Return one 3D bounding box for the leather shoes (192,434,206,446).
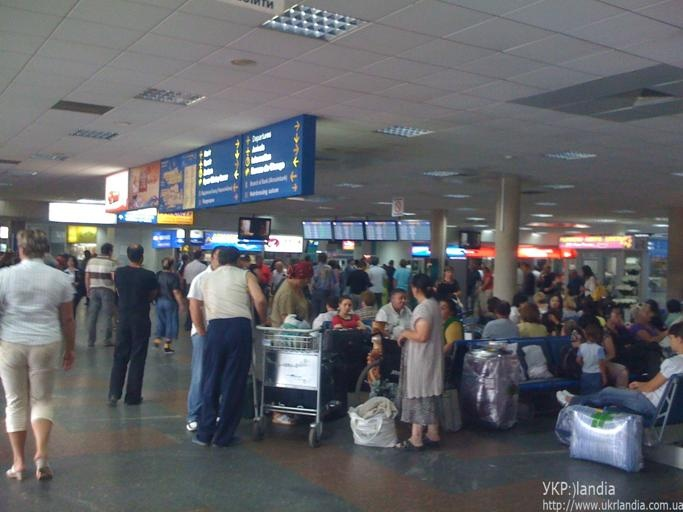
[{"bbox_3d":[-1.514,1.962,6.037,0.080,0.093,0.225,2,3,-21],"label":"leather shoes"}]

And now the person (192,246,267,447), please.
[{"bbox_3d":[-1.230,0.941,6.151,0.728,2.091,0.562,0,0,-15],"label":"person"}]

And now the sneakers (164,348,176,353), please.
[{"bbox_3d":[-3.327,1.842,11.011,0.170,0.062,0.086,-1,4,-31],"label":"sneakers"}]

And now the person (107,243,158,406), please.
[{"bbox_3d":[-2.729,1.037,7.447,0.581,1.774,0.346,0,0,-21],"label":"person"}]

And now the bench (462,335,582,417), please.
[{"bbox_3d":[2.853,1.595,7.905,1.133,0.891,2.872,5,3,43],"label":"bench"}]

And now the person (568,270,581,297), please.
[{"bbox_3d":[6.087,0.754,14.892,0.430,0.728,0.551,2,-8,15],"label":"person"}]

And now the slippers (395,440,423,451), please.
[{"bbox_3d":[0.709,1.994,5.997,0.203,0.067,0.114,4,-9,1],"label":"slippers"}]

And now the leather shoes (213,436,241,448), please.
[{"bbox_3d":[-1.176,1.954,5.989,0.150,0.071,0.329,0,0,32],"label":"leather shoes"}]

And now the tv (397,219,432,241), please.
[{"bbox_3d":[2.188,-0.761,17.214,1.041,0.603,0.452,0,0,19],"label":"tv"}]

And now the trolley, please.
[{"bbox_3d":[-0.430,1.401,6.730,0.927,1.347,1.322,0,-4,12],"label":"trolley"}]

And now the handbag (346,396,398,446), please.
[{"bbox_3d":[0.355,1.809,6.282,0.512,0.419,0.483,-4,-2,27],"label":"handbag"}]

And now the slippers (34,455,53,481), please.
[{"bbox_3d":[-2.618,1.868,4.981,0.131,0.220,0.099,-10,1,-3],"label":"slippers"}]

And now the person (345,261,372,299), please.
[{"bbox_3d":[0.461,0.606,15.631,0.605,0.954,1.227,0,0,-2],"label":"person"}]

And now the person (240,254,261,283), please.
[{"bbox_3d":[-1.727,0.230,10.839,0.270,0.240,0.781,8,9,14],"label":"person"}]

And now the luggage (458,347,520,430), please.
[{"bbox_3d":[1.771,1.602,6.833,0.683,0.965,0.333,0,0,12],"label":"luggage"}]

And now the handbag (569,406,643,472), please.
[{"bbox_3d":[2.633,1.859,5.681,0.527,0.359,0.201,-3,-10,45],"label":"handbag"}]

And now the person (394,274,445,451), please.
[{"bbox_3d":[0.836,1.122,6.086,0.456,1.835,0.456,0,0,18],"label":"person"}]

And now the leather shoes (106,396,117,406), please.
[{"bbox_3d":[-2.930,1.864,7.231,0.076,0.070,0.168,2,-10,-5],"label":"leather shoes"}]

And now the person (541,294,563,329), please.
[{"bbox_3d":[3.657,0.988,9.893,0.260,0.260,0.765,-16,30,33],"label":"person"}]

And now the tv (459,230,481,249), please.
[{"bbox_3d":[5.640,-0.697,25.033,0.836,0.755,0.891,0,0,8],"label":"tv"}]

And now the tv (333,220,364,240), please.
[{"bbox_3d":[0.248,-0.914,20.684,0.413,0.715,2.323,0,0,-20],"label":"tv"}]

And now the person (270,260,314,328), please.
[{"bbox_3d":[-0.643,0.487,7.230,0.519,0.819,0.516,0,0,-6],"label":"person"}]

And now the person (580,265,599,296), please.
[{"bbox_3d":[6.411,0.648,14.708,0.344,0.763,2.011,0,0,23],"label":"person"}]

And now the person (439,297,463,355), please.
[{"bbox_3d":[1.449,0.952,7.605,0.415,0.662,0.703,0,-5,4],"label":"person"}]

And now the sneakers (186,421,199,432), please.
[{"bbox_3d":[-1.681,1.920,6.371,0.157,0.063,0.198,0,2,-2],"label":"sneakers"}]

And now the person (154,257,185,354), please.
[{"bbox_3d":[-3.396,0.959,11.100,0.477,1.813,1.008,0,0,-19],"label":"person"}]

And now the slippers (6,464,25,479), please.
[{"bbox_3d":[-2.826,1.872,4.929,0.092,0.071,0.173,3,1,-21],"label":"slippers"}]

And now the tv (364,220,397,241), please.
[{"bbox_3d":[1.305,-0.836,18.582,0.434,0.647,2.076,0,0,-17],"label":"tv"}]
